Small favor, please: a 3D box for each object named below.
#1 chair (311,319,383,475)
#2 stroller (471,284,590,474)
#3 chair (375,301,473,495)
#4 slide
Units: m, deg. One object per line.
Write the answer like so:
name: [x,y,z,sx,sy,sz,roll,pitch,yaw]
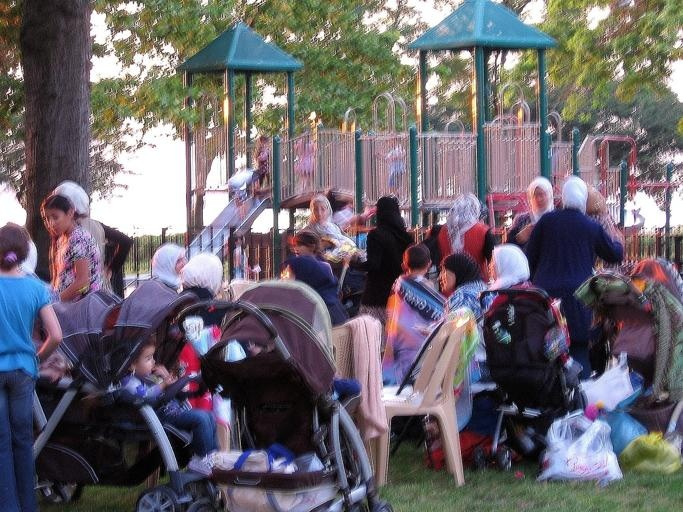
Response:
chair: [0.210,1.036,7.307,0.839,1.263,0.637,2,5,43]
stroller: [1.601,1.051,8.009,0.812,1.510,0.437,0,-3,17]
chair: [0.641,1.221,7.944,0.799,1.413,0.757,-2,0,-10]
slide: [-2.516,-0.627,20.189,1.586,1.666,1.245,7,9,34]
